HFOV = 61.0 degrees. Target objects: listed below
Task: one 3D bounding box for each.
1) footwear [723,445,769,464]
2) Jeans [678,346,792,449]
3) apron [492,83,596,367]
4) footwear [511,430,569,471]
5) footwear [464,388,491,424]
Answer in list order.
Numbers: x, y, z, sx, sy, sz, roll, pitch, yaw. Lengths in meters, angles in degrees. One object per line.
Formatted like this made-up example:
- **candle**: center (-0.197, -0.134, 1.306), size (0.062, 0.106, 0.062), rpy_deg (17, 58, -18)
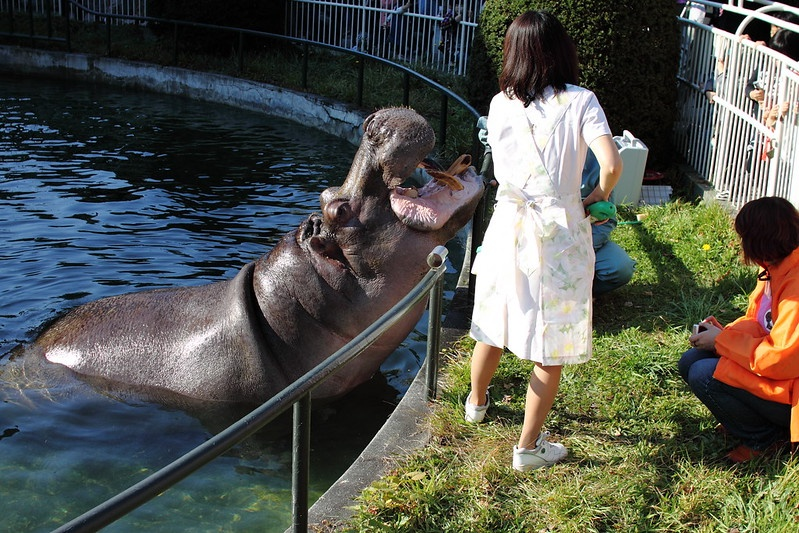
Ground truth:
- **footwear**: center (2.114, 1.144, 4.140), size (0.229, 0.096, 0.086), rpy_deg (-17, 20, 21)
- **Jeans**: center (2.073, 0.809, 4.294), size (0.632, 0.191, 0.367), rpy_deg (28, 7, 29)
- **apron**: center (0.838, -0.257, 3.996), size (0.750, 1.517, 0.722), rpy_deg (6, 23, 8)
- **footwear**: center (0.869, 1.124, 4.190), size (0.389, 0.200, 0.138), rpy_deg (-4, 14, -29)
- **footwear**: center (0.508, 0.926, 4.514), size (0.102, 0.105, 0.253), rpy_deg (5, 37, 5)
